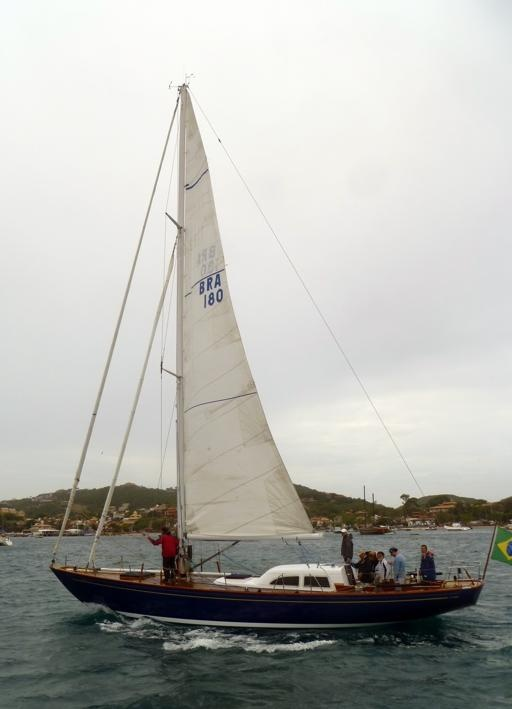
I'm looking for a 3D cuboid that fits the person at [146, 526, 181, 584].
[{"bbox_3d":[-2.569,5.625,17.599,0.747,1.415,2.365,3,-14,-9],"label":"person"}]
